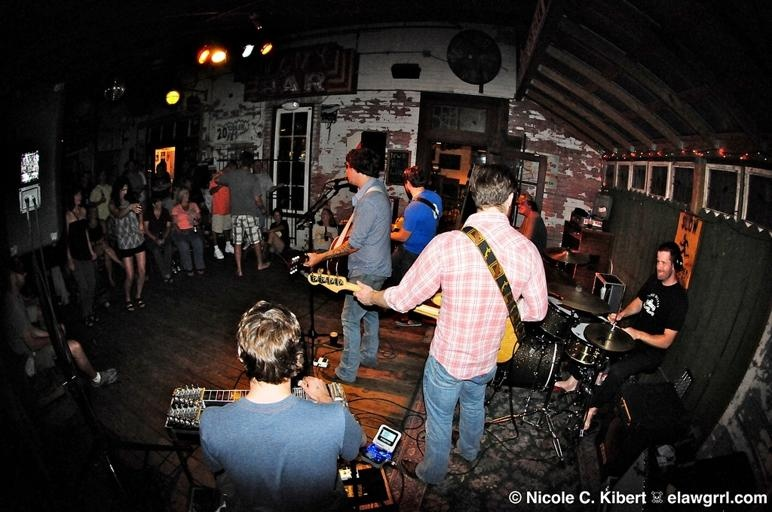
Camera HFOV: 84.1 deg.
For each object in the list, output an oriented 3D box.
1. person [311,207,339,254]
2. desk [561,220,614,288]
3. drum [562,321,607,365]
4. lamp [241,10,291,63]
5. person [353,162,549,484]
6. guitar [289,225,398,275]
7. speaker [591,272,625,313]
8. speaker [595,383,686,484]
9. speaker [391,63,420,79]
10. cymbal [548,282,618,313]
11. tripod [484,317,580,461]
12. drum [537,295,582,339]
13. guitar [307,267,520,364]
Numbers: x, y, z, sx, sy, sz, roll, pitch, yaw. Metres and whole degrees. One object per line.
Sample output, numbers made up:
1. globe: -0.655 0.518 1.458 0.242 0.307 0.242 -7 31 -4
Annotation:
1. person: -1.228 -0.499 8.397 0.653 1.047 0.337 0 5 10
2. desk: 3.636 -0.027 7.980 0.607 1.302 1.441 9 15 13
3. drum: 1.921 0.891 4.225 0.416 0.287 0.394 0 25 0
4. lamp: -2.349 -3.992 8.011 0.841 1.109 0.322 -33 35 -31
5. person: 0.592 0.656 3.421 1.231 2.745 0.481 6 9 12
6. guitar: -0.518 -0.100 4.633 1.070 0.507 0.174 -21 1 -10
7. speaker: 3.068 0.504 5.896 0.383 0.701 0.385 -1 17 4
8. speaker: 2.224 1.557 3.726 0.408 0.409 0.755 9 -6 7
9. speaker: 0.369 -3.590 8.220 0.582 0.318 0.336 5 9 6
10. cymbal: 2.053 0.460 4.508 0.392 0.094 0.383 13 29 -14
11. tripod: 1.534 1.238 4.724 1.199 1.374 1.098 5 8 18
12. drum: 1.814 0.653 4.488 0.394 0.273 0.441 34 7 28
13. guitar: 0.192 0.665 3.984 1.996 0.306 0.827 8 15 -7
